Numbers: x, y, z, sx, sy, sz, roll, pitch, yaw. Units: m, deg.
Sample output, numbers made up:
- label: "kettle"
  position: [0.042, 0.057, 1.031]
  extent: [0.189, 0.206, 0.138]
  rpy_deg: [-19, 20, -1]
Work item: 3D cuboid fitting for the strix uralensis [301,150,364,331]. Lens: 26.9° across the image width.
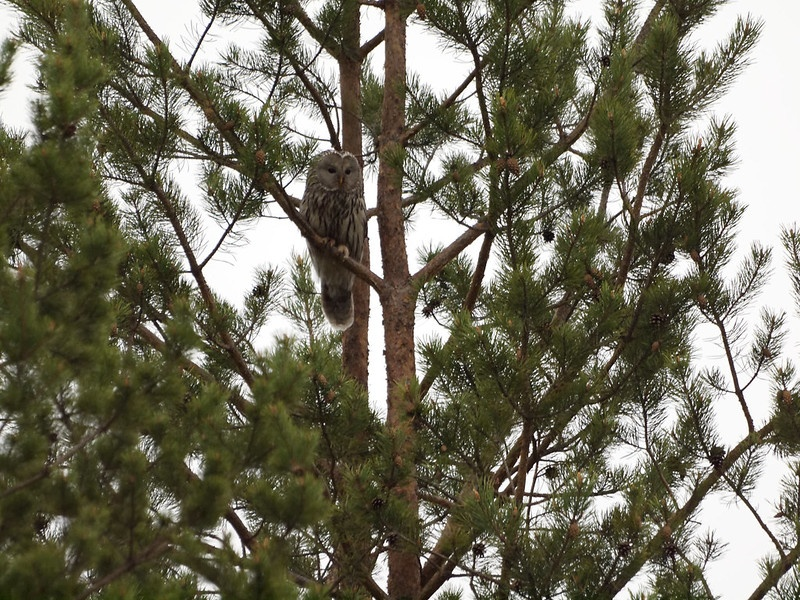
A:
- label: "strix uralensis"
  position: [-0.469, -0.474, 11.979]
  extent: [0.455, 1.348, 1.175]
  rpy_deg: [0, -42, -4]
